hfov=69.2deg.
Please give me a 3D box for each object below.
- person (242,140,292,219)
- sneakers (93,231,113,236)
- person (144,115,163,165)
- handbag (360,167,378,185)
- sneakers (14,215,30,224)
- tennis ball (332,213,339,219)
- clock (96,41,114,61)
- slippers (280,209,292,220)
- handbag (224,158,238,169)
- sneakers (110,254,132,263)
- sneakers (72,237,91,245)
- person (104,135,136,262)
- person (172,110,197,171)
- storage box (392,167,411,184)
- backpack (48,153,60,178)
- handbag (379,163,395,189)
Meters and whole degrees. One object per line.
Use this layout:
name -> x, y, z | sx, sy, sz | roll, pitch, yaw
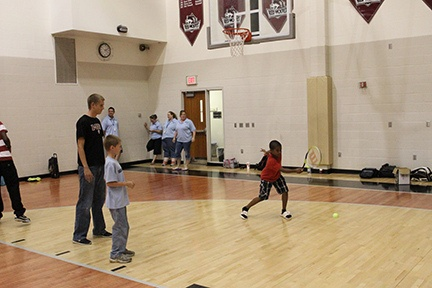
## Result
person -> 1.086, 0.723, 6.687 | 1.028, 1.655, 0.917 | 0, 7, 13
sneakers -> -2.133, 1.693, 5.946 | 0.351, 0.140, 0.121 | 0, -2, -2
person -> -2.690, -0.221, 13.985 | 0.589, 2.163, 0.769 | -8, 9, -38
handbag -> 4.940, 0.941, 10.149 | 0.744, 0.268, 0.410 | -8, 9, -43
sneakers -> -4.167, 1.637, 6.807 | 0.386, 0.183, 0.127 | 4, 1, -7
tennis ball -> 2.474, 1.484, 6.514 | 0.105, 0.090, 0.089 | 19, -24, -19
clock -> -4.570, -3.840, 12.980 | 0.133, 0.597, 0.591 | 5, 6, 40
slippers -> 1.475, 1.470, 6.598 | 0.110, 0.110, 0.236 | -3, 0, -31
handbag -> 0.590, 0.762, 12.450 | 0.409, 0.298, 0.413 | -4, -2, 25
sneakers -> -1.452, 1.782, 4.939 | 0.343, 0.161, 0.129 | -1, 2, 2
sneakers -> -2.352, 1.705, 5.578 | 0.305, 0.131, 0.115 | 1, 0, 8
person -> -1.491, 0.845, 4.878 | 0.407, 1.961, 0.552 | -5, 7, -20
person -> -1.251, -0.158, 12.375 | 0.848, 2.316, 1.286 | -3, 7, -7
storage box -> 5.234, 0.910, 8.943 | 0.432, 0.552, 0.444 | -1, -4, 8
backpack -> -5.997, 0.796, 11.644 | 0.365, 0.884, 0.365 | -6, 8, -27
handbag -> 5.477, 0.849, 10.079 | 0.499, 0.425, 0.457 | 3, 8, 38
